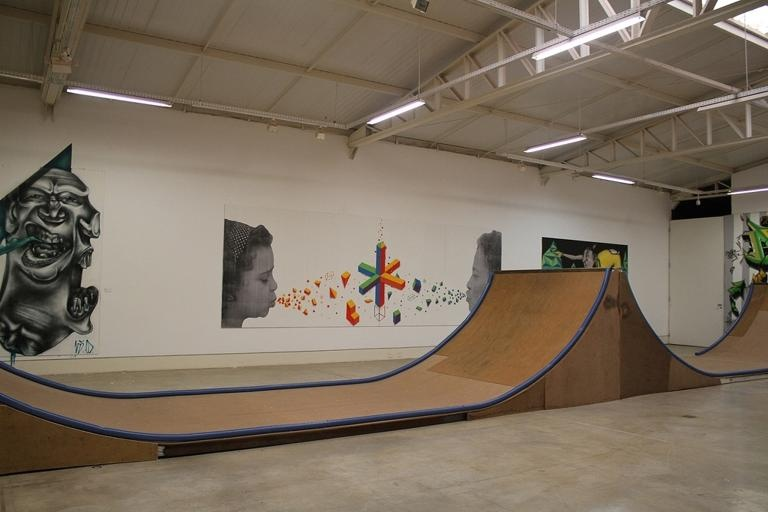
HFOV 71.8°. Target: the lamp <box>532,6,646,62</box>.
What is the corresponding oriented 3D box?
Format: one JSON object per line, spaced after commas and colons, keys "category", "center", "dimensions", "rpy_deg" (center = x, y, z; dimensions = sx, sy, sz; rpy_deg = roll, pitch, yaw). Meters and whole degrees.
{"category": "lamp", "center": [2.571, -2.797, 6.777], "dimensions": [1.334, 0.387, 0.498], "rpy_deg": [10, 11, 40]}
